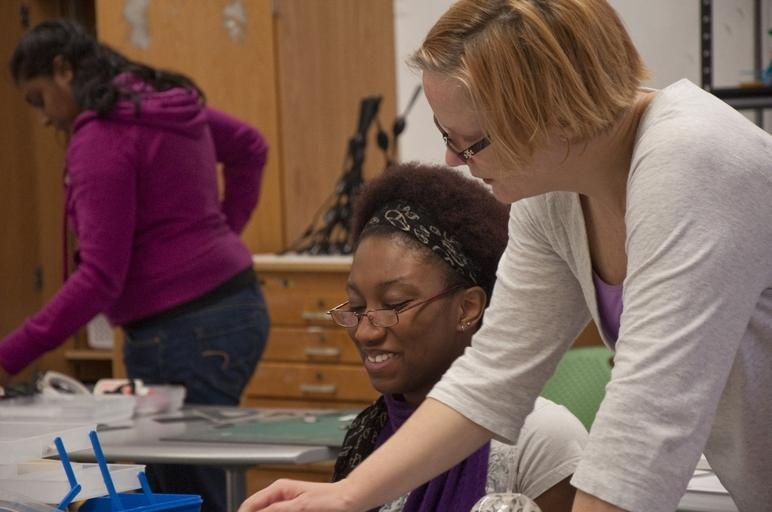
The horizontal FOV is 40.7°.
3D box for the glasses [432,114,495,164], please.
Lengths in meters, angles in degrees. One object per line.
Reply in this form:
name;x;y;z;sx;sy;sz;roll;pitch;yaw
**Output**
glasses;0.151;-0.195;1.807;0.081;0.081;0.023;-30;-27;-14
